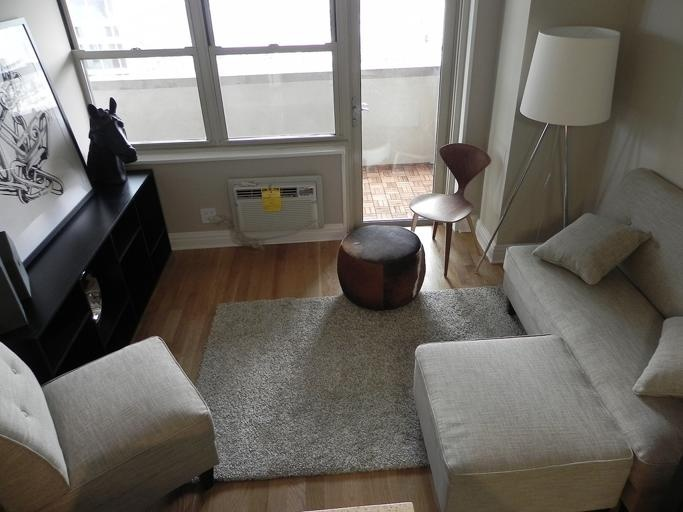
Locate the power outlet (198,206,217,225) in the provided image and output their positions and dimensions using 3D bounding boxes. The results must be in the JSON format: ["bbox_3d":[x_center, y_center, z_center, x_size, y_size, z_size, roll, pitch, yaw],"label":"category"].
[{"bbox_3d":[-1.076,-0.319,4.062,0.108,0.119,0.028,-6,18,-9],"label":"power outlet"}]

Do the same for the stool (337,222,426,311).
[{"bbox_3d":[0.245,0.058,3.379,0.491,0.346,0.537,-3,35,-2],"label":"stool"}]
